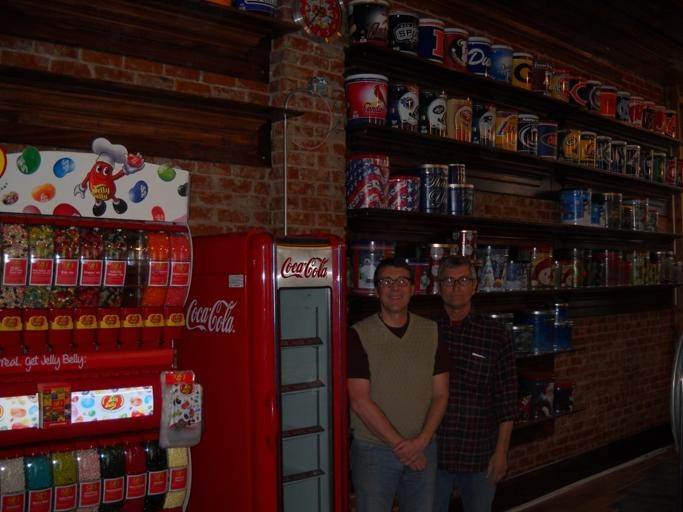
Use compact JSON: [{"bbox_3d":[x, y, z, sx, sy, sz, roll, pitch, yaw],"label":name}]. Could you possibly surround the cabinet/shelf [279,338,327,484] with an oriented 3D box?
[{"bbox_3d":[-0.188,0.758,2.640,0.162,0.705,0.301,-11,-14,40],"label":"cabinet/shelf"}]
